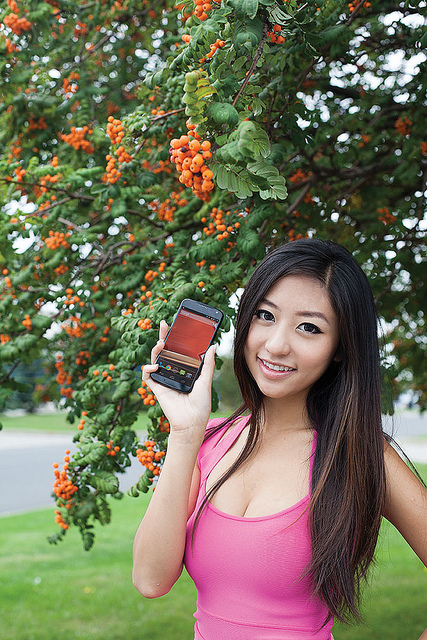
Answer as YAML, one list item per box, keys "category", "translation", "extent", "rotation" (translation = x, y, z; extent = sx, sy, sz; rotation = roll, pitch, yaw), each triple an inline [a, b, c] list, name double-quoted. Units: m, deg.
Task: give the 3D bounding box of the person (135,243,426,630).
- category: "person"
  translation: [0.179, 0.337, 1.630]
  extent: [0.802, 1.115, 0.388]
  rotation: [-4, 0, 16]
